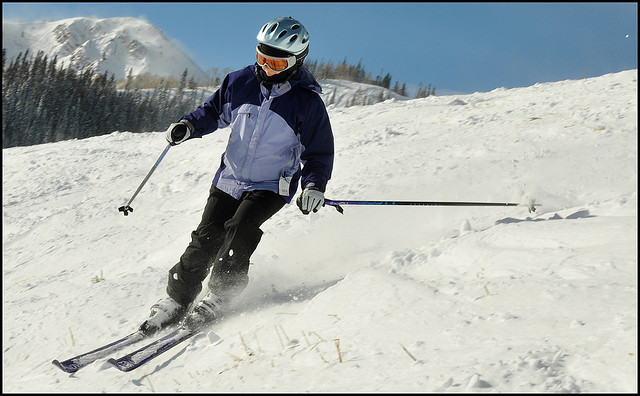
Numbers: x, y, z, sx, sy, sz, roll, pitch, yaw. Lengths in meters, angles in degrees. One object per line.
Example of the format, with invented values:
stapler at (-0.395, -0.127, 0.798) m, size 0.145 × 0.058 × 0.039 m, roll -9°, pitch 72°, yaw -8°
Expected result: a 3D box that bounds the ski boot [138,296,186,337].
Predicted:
ski boot at (-2.531, 1.861, 8.912) m, size 0.412 × 0.267 × 0.710 m, roll 43°, pitch 64°, yaw 16°
